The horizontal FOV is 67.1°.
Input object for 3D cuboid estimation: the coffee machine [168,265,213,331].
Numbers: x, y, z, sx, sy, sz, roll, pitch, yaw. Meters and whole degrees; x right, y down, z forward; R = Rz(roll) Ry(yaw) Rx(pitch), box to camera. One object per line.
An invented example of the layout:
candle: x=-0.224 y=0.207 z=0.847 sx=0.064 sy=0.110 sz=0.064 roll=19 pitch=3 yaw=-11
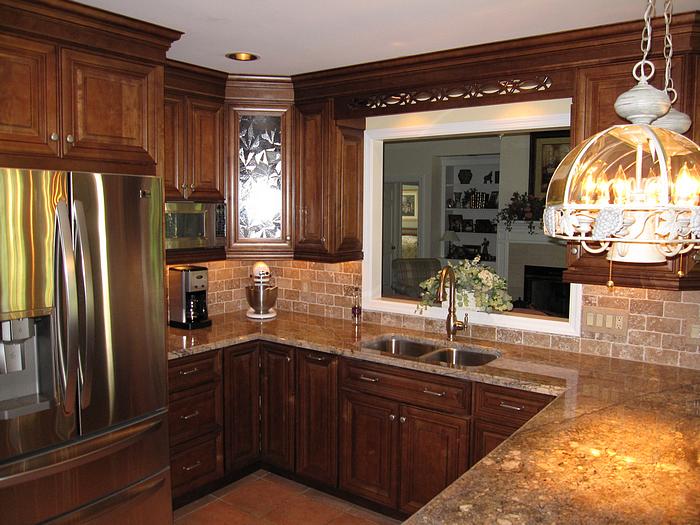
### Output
coffee machine: x=-1.280 y=0.269 z=4.173 sx=0.323 sy=0.487 sz=0.257 roll=-1 pitch=8 yaw=-7

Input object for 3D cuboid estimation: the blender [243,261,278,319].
blender: x=-0.759 y=0.234 z=4.499 sx=0.256 sy=0.477 sz=0.238 roll=-2 pitch=8 yaw=-9

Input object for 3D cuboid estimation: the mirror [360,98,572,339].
mirror: x=1.239 y=-0.438 z=5.352 sx=2.437 sy=2.167 sz=0.189 roll=3 pitch=3 yaw=34

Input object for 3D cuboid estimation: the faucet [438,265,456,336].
faucet: x=0.715 y=0.277 z=3.829 sx=0.129 sy=0.537 sz=0.301 roll=1 pitch=8 yaw=11

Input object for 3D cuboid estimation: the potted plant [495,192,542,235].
potted plant: x=2.318 y=-0.636 z=7.070 sx=0.532 sy=0.176 sz=0.536 roll=-4 pitch=-7 yaw=32

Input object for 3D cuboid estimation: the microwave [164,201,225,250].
microwave: x=-1.165 y=-0.277 z=4.019 sx=0.315 sy=0.394 sz=0.597 roll=2 pitch=3 yaw=35

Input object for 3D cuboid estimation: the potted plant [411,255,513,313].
potted plant: x=0.842 y=0.176 z=3.871 sx=0.677 sy=0.451 sz=0.404 roll=0 pitch=8 yaw=7
